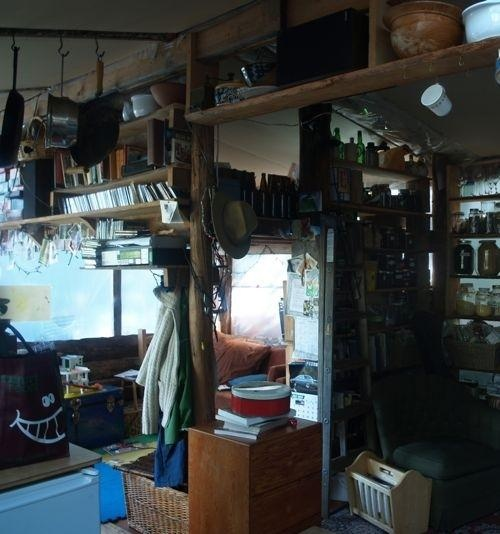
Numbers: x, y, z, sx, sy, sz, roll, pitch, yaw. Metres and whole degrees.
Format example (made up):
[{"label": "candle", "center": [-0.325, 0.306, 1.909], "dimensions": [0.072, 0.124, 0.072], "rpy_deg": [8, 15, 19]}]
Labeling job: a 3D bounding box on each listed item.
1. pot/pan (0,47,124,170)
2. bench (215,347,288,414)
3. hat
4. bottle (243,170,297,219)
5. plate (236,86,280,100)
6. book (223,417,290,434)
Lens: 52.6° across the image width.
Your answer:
[{"label": "pot/pan", "center": [-1.002, -0.807, 2.722], "dimensions": [0.618, 0.561, 0.284], "rpy_deg": [-1, 1, -40]}, {"label": "bench", "center": [0.024, 1.149, 5.080], "dimensions": [0.679, 0.505, 1.276], "rpy_deg": [0, 1, 5]}, {"label": "hat", "center": [-0.087, -0.232, 2.740], "dimensions": [0.239, 0.372, 0.216], "rpy_deg": [0, 1, -6]}, {"label": "bottle", "center": [0.161, -0.512, 3.565], "dimensions": [0.326, 0.346, 0.100], "rpy_deg": [5, -19, -33]}, {"label": "plate", "center": [0.039, -0.777, 2.313], "dimensions": [0.212, 0.071, 0.054], "rpy_deg": [6, 14, 43]}, {"label": "book", "center": [0.032, 0.760, 2.416], "dimensions": [0.327, 0.072, 0.189], "rpy_deg": [-1, 1, -5]}]
